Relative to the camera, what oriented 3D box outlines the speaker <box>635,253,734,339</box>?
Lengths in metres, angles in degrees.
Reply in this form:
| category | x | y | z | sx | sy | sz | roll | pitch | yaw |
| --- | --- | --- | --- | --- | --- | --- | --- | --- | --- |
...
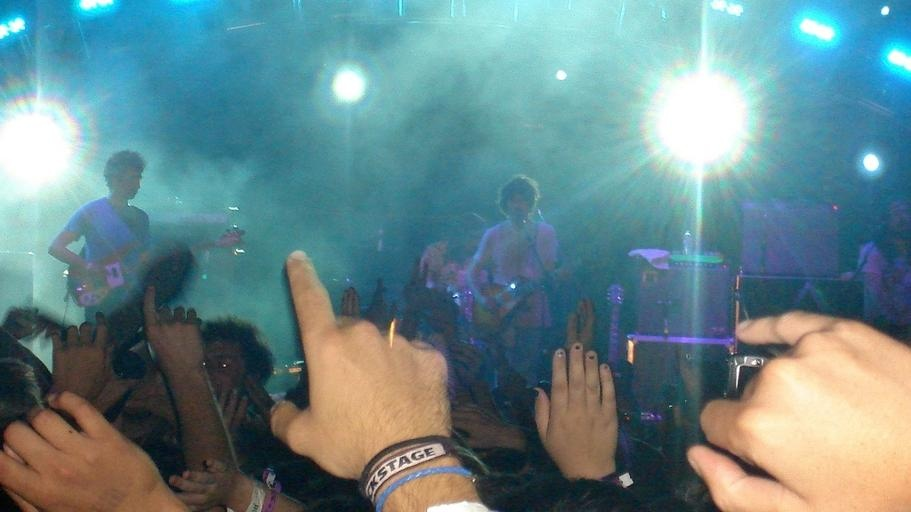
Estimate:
| category | x | y | z | sx | sy | sz | roll | pitch | yaw |
| --- | --- | --- | --- | --- | --- | --- | --- | --- | --- |
| speaker | 3.106 | 0.534 | 8.809 | 1.260 | 1.077 | 0.905 | 1 | -5 | 12 |

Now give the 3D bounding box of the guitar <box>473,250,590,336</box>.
| category | x | y | z | sx | sy | sz | roll | pitch | yaw |
| --- | --- | --- | --- | --- | --- | --- | --- | --- | --- |
| guitar | 0.836 | 0.406 | 10.742 | 1.423 | 1.752 | 0.458 | 1 | -42 | -19 |
